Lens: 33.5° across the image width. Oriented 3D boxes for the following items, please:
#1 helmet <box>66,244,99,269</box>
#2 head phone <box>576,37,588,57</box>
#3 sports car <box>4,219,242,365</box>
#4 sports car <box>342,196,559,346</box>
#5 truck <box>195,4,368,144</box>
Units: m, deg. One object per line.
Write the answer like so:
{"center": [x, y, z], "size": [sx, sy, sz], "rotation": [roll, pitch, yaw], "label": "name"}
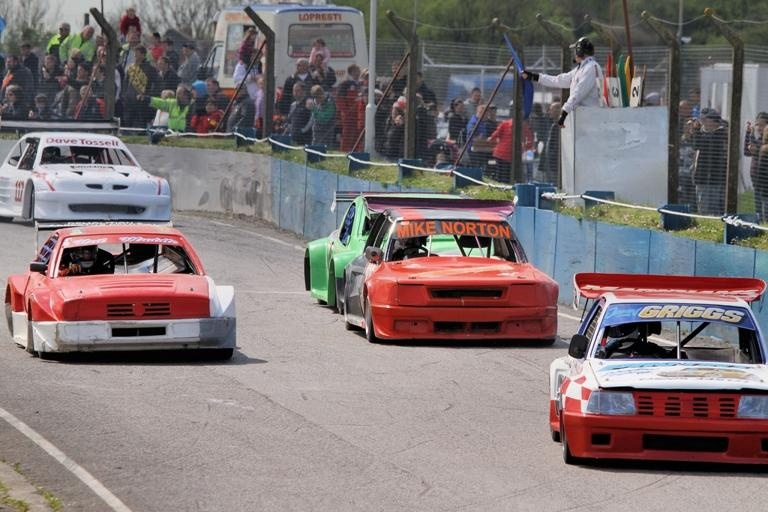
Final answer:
{"center": [-3.944, -0.002, 16.879], "size": [0.294, 0.340, 0.131], "rotation": [-3, 0, -20], "label": "helmet"}
{"center": [3.367, -3.503, 21.364], "size": [0.251, 0.266, 0.274], "rotation": [5, 2, -3], "label": "head phone"}
{"center": [-3.317, 0.463, 16.193], "size": [2.355, 1.484, 2.624], "rotation": [-5, 12, -37], "label": "sports car"}
{"center": [0.864, 0.263, 17.790], "size": [2.650, 1.637, 2.398], "rotation": [0, 9, -9], "label": "sports car"}
{"center": [-2.401, -5.401, 33.236], "size": [2.464, 2.089, 3.936], "rotation": [-6, 15, -26], "label": "truck"}
